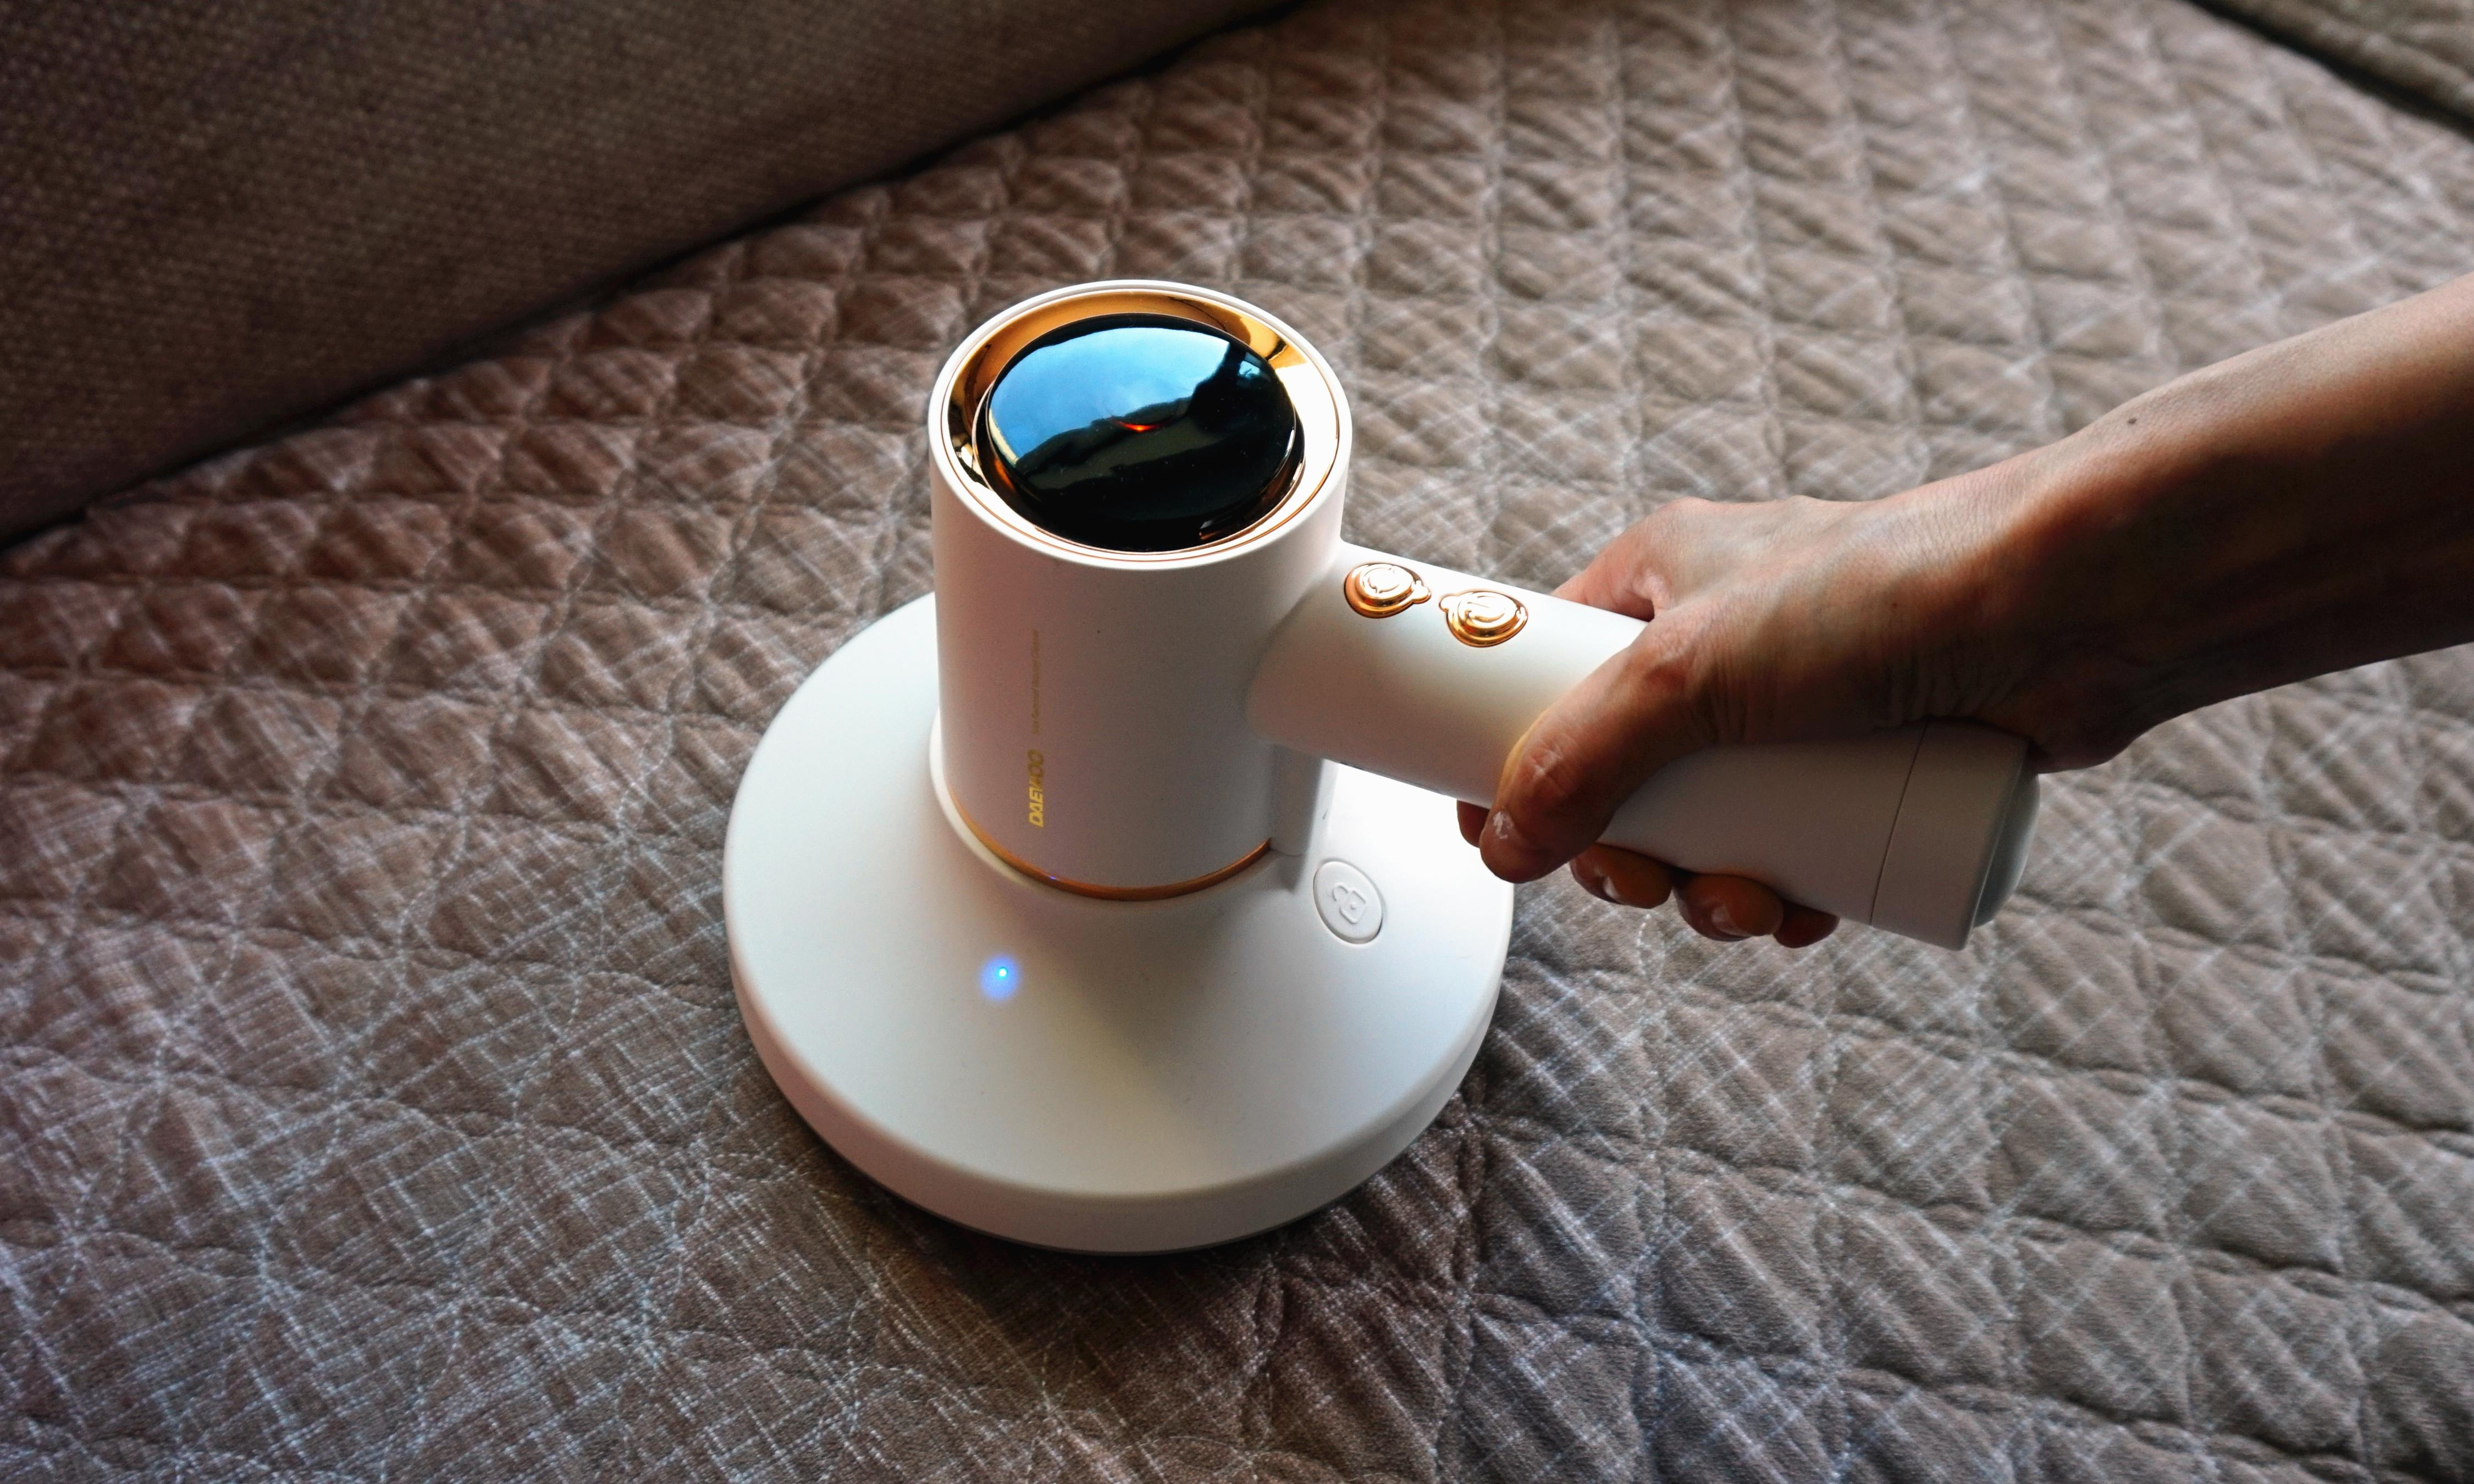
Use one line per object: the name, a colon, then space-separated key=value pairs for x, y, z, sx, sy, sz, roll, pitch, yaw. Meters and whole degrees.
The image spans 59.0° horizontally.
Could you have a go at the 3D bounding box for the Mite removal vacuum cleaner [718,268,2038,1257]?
Mite removal vacuum cleaner: x=0.026 y=-0.002 z=1.119 sx=0.587 sy=0.381 sz=0.429 roll=16 pitch=46 yaw=5
